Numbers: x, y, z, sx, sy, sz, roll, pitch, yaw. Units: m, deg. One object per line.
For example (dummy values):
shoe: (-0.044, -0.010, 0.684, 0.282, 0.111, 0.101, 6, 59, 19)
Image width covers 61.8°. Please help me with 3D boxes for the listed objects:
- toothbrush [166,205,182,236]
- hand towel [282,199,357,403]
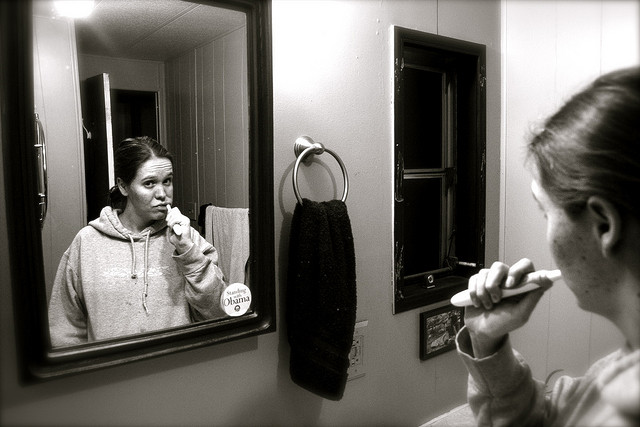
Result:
toothbrush: (-0.386, 0.011, 1.430, 0.024, 0.097, 0.020, -12, -14, -29)
hand towel: (0.006, 0.244, 1.553, 0.206, 0.567, 0.080, -4, 4, -3)
